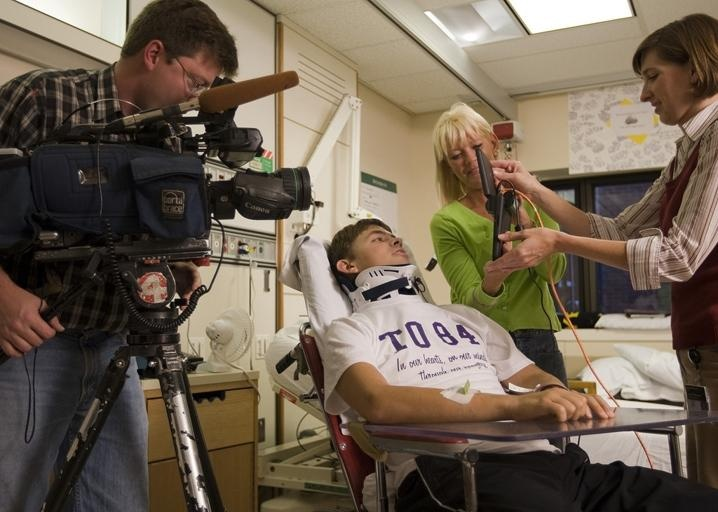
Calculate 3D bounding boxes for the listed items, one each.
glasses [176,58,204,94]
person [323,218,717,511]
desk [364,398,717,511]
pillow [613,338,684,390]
[{"bbox_3d":[-0.501,-0.527,1.831,0.025,0.082,0.079,-24,-18,19],"label":"glasses"},{"bbox_3d":[0.476,0.381,1.962,1.109,0.829,0.610,-23,-16,39],"label":"person"},{"bbox_3d":[0.465,0.583,1.685,0.962,0.313,0.541,-1,-3,-1],"label":"desk"},{"bbox_3d":[2.007,0.729,4.172,0.555,0.179,0.514,6,10,-37],"label":"pillow"}]
